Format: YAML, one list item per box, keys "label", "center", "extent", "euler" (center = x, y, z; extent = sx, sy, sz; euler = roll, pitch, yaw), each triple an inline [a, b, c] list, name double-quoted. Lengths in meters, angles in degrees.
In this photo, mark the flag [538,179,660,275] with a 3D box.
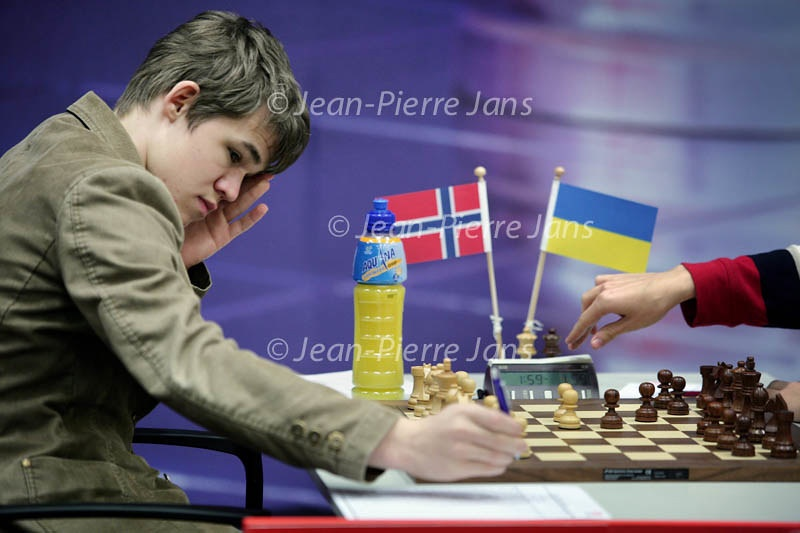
- label: "flag"
  center: [0.633, -0.143, 2.468]
  extent: [0.305, 0.199, 0.015]
  euler: [16, 5, 5]
